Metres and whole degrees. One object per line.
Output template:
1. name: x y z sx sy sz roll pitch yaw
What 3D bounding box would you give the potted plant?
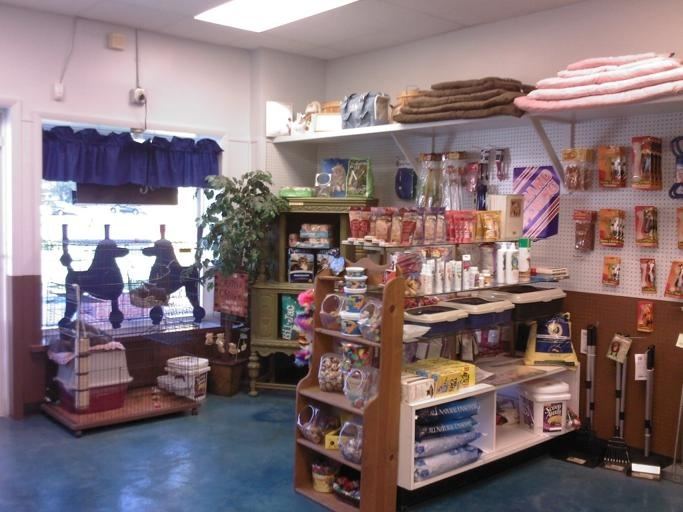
1. potted plant: -1.133 0.172 5.937 0.655 2.152 0.597 7 7 41

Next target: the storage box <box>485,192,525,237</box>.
1. storage box: 1.378 -0.348 4.598 0.254 0.322 0.263 -7 12 -35

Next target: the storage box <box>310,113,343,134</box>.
1. storage box: -0.163 -1.386 5.860 0.235 0.156 0.245 0 4 3

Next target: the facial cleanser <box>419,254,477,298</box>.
1. facial cleanser: 0.786 0.147 4.017 0.282 0.320 0.326 -3 8 -41

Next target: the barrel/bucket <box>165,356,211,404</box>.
1. barrel/bucket: -1.636 1.276 5.717 0.393 0.447 0.348 3 9 18

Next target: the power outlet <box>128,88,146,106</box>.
1. power outlet: -2.111 -1.634 5.628 0.107 0.183 0.195 1 1 12

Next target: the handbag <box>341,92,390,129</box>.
1. handbag: 0.220 -1.439 5.473 0.491 0.341 0.252 1 9 8

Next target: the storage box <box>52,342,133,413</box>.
1. storage box: -2.380 1.120 5.072 0.694 0.653 0.394 0 9 1

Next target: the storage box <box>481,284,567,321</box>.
1. storage box: 1.474 0.327 4.434 0.692 0.288 0.488 6 6 29

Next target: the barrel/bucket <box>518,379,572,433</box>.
1. barrel/bucket: 1.682 1.215 4.602 0.343 0.415 0.292 -2 5 -18
